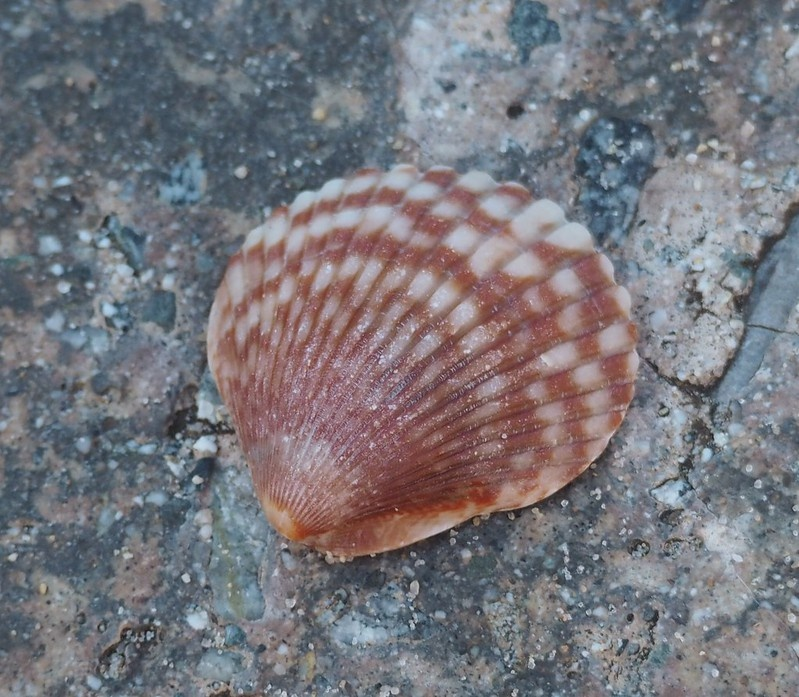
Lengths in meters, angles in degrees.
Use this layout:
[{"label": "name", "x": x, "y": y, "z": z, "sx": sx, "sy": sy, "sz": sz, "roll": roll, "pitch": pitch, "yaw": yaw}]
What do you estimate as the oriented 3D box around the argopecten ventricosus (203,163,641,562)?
[{"label": "argopecten ventricosus", "x": -0.031, "y": -0.052, "z": 4.193, "sx": 1.752, "sy": 0.506, "sz": 2.023, "roll": -26, "pitch": 49, "yaw": -8}]
